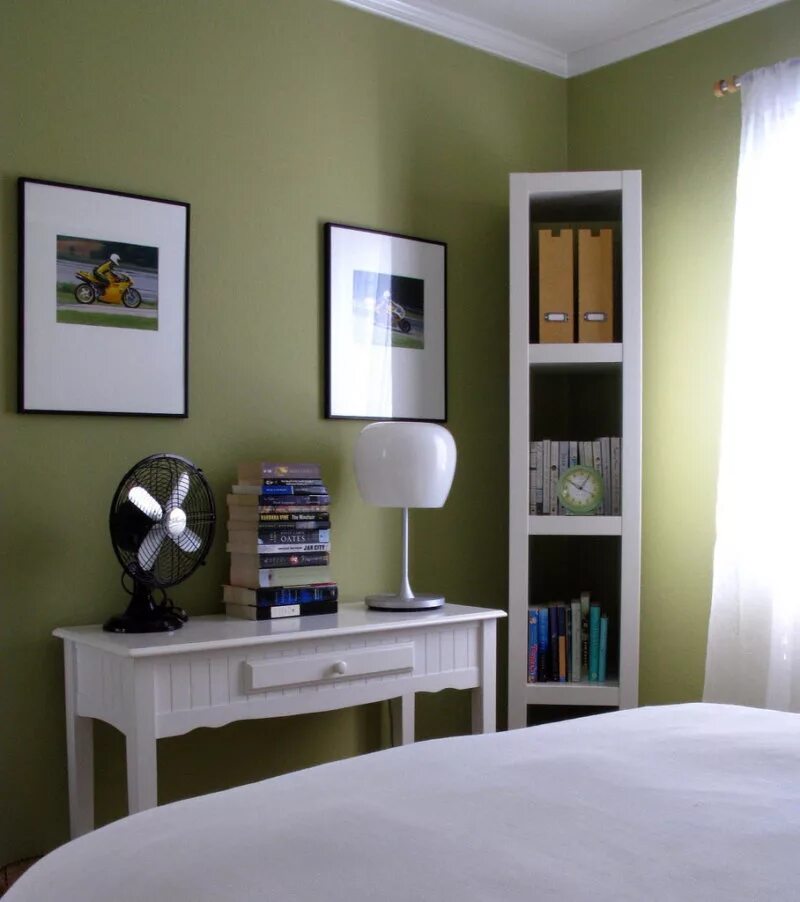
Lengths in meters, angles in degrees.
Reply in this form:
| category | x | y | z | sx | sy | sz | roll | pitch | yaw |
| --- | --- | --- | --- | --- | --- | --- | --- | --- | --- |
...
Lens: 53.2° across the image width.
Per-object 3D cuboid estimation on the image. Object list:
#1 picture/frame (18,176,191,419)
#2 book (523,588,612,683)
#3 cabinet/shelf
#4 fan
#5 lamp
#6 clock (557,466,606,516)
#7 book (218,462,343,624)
| category | x | y | z | sx | sy | sz | roll | pitch | yaw |
| --- | --- | --- | --- | --- | --- | --- | --- | --- | --- |
| picture/frame | -0.757 | -0.400 | 2.066 | 0.421 | 0.745 | 0.016 | 4 | -32 | -28 |
| book | 0.534 | 0.608 | 2.592 | 0.270 | 0.272 | 0.082 | 0 | -2 | -4 |
| cabinet/shelf | 0.593 | 0.236 | 2.779 | 0.314 | 2.323 | 0.256 | 2 | 14 | 12 |
| fan | -0.583 | 0.209 | 1.907 | 0.182 | 0.440 | 0.234 | 4 | 0 | 37 |
| lamp | 0.030 | 0.182 | 2.322 | 0.267 | 0.530 | 0.364 | -1 | -2 | 15 |
| clock | 0.583 | 0.126 | 2.579 | 0.134 | 0.145 | 0.028 | 0 | -2 | 8 |
| book | -0.302 | 0.237 | 2.250 | 0.370 | 0.630 | 0.282 | 3 | -5 | -45 |
